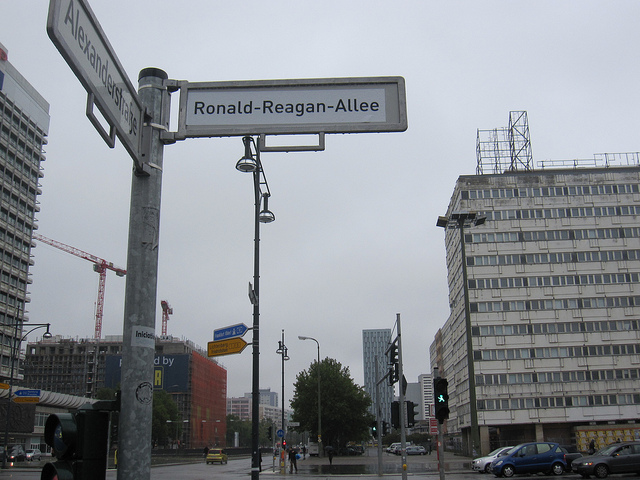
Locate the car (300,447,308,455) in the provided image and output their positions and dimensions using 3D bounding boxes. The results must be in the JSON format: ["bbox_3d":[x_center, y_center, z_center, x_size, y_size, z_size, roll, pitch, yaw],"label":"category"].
[{"bbox_3d":[-2.482,31.719,96.407,1.111,1.041,2.000,0,-21,2],"label":"car"}]

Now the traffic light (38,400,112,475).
[{"bbox_3d":[-3.164,2.592,8.352,0.895,0.905,0.531,2,-19,-7],"label":"traffic light"}]

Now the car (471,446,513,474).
[{"bbox_3d":[10.265,12.563,36.888,2.718,1.544,1.632,6,-21,-10],"label":"car"}]

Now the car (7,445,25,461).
[{"bbox_3d":[-28.190,19.694,58.974,1.316,1.267,2.416,1,-20,-10],"label":"car"}]

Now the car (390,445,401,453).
[{"bbox_3d":[10.443,30.163,91.460,1.322,1.155,2.290,4,-8,-20],"label":"car"}]

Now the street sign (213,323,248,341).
[{"bbox_3d":[-2.769,2.857,19.517,1.288,0.377,0.357,-19,-26,37],"label":"street sign"}]

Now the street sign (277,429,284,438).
[{"bbox_3d":[-2.800,13.534,44.720,0.398,0.492,1.496,0,-21,-3],"label":"street sign"}]

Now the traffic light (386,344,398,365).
[{"bbox_3d":[3.402,5.350,29.723,0.556,1.112,0.748,2,-5,-13],"label":"traffic light"}]

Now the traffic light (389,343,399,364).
[{"bbox_3d":[3.413,5.332,29.757,0.438,0.860,1.187,-3,-21,5],"label":"traffic light"}]

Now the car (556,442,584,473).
[{"bbox_3d":[12.773,11.252,32.743,1.267,1.364,2.277,-8,-10,40],"label":"car"}]

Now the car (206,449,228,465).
[{"bbox_3d":[-9.911,20.833,61.287,1.675,1.389,2.609,-1,-21,1],"label":"car"}]
